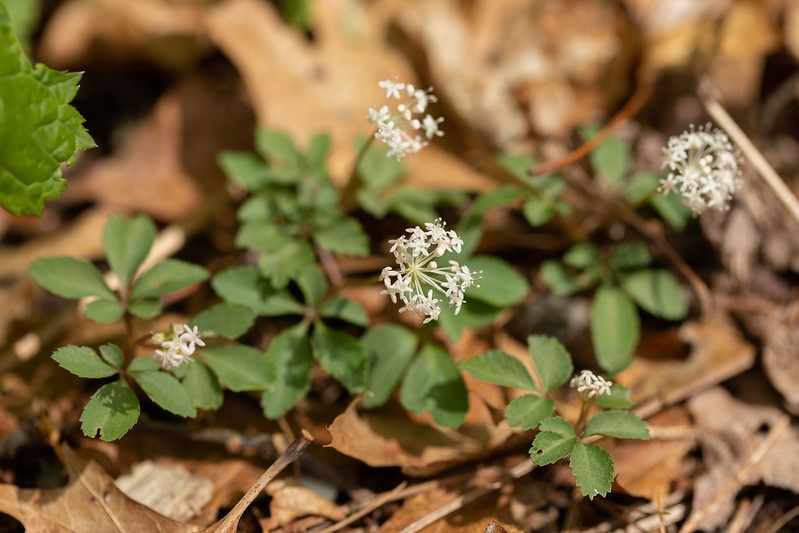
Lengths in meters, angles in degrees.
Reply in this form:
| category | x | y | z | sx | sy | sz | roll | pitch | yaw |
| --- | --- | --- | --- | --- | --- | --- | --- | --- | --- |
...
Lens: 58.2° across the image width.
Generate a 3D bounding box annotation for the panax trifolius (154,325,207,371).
| category | x | y | z | sx | sy | sz | roll | pitch | yaw |
| --- | --- | --- | --- | --- | --- | --- | --- | --- | --- |
| panax trifolius | -1.489 | 0.584 | 4.838 | 0.307 | 0.405 | 0.219 | -24 | 58 | -26 |
